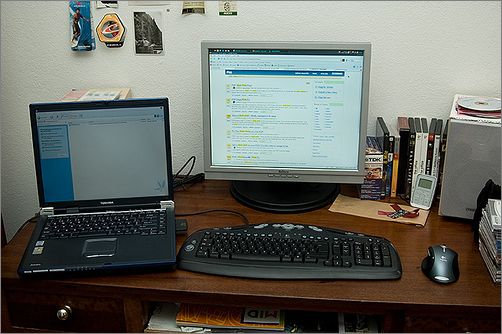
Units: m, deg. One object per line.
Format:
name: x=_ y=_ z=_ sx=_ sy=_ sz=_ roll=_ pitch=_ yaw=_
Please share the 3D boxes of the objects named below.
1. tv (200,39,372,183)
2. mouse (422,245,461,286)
tv: x=0.144 y=-0.227 z=1.537 sx=0.662 sy=0.480 sz=0.061 roll=1 pitch=13 yaw=2
mouse: x=0.628 y=0.297 z=1.301 sx=0.134 sy=0.051 sz=0.171 roll=7 pitch=35 yaw=18
